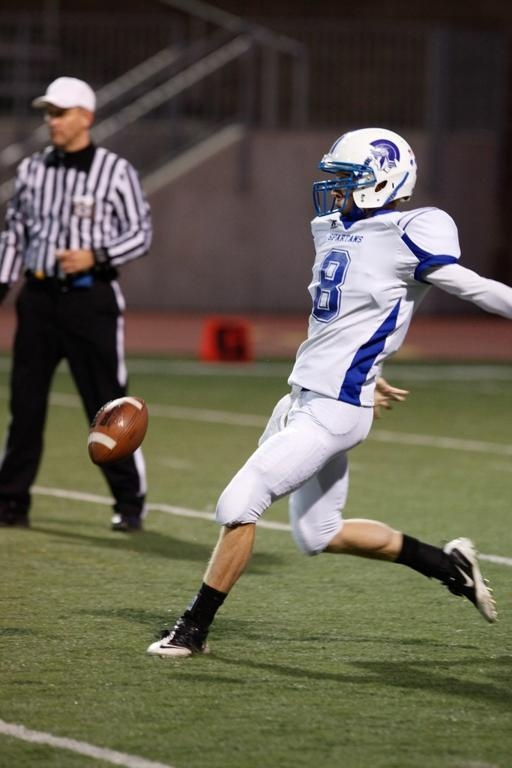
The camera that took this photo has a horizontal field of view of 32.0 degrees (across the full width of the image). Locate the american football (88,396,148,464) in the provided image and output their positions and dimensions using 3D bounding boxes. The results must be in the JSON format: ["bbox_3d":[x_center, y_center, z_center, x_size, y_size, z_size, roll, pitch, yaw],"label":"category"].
[{"bbox_3d":[-0.467,0.156,2.995,0.185,0.218,0.225,3,1,-10],"label":"american football"}]

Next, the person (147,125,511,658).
[{"bbox_3d":[0.254,-0.002,2.709,1.005,1.205,0.542,3,1,7],"label":"person"}]

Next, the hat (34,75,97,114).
[{"bbox_3d":[-0.834,-1.342,4.135,0.301,0.133,0.203,4,9,-44],"label":"hat"}]

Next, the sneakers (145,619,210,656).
[{"bbox_3d":[-0.214,0.729,2.583,0.203,0.068,0.092,1,-10,-1],"label":"sneakers"}]

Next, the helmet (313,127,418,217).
[{"bbox_3d":[0.354,-0.646,2.725,0.349,0.223,0.240,-1,16,0],"label":"helmet"}]
